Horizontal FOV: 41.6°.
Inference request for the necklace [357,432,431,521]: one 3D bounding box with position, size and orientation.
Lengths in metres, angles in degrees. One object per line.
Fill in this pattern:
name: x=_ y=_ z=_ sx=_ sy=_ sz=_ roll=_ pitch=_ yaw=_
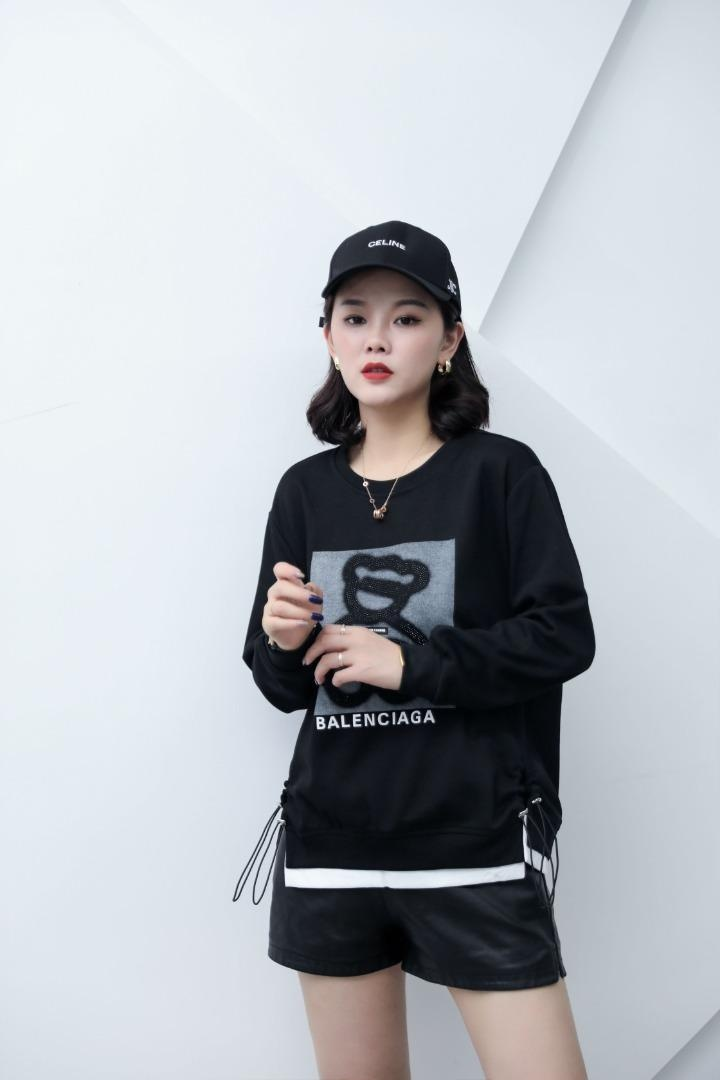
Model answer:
necklace: x=0.056 y=-0.094 z=1.470 sx=0.075 sy=0.132 sz=0.033 roll=2 pitch=-12 yaw=18
